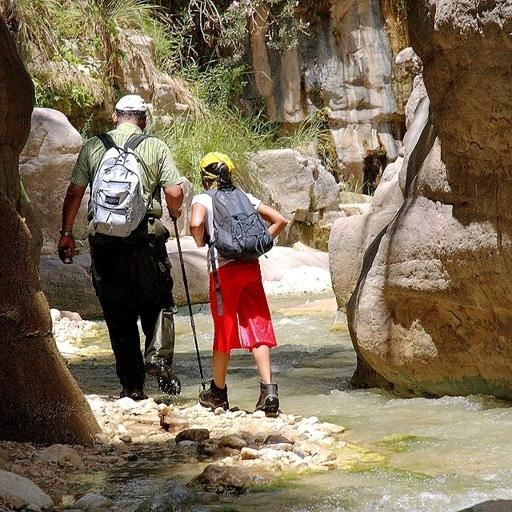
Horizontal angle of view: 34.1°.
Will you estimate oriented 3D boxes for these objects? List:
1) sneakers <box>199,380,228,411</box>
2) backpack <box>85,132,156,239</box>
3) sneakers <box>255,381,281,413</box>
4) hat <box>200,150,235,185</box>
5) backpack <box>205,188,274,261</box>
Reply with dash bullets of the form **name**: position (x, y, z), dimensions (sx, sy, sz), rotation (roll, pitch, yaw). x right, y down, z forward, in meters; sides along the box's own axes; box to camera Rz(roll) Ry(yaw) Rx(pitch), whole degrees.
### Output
- **sneakers**: position (-0.227, 0.783, 4.668), dimensions (0.081, 0.177, 0.245), rotation (-1, 8, -27)
- **backpack**: position (-0.793, -0.410, 4.748), dimensions (0.367, 0.441, 0.403), rotation (-6, 4, -3)
- **sneakers**: position (0.050, 0.766, 4.441), dimensions (0.119, 0.106, 0.191), rotation (-10, 5, -42)
- **hat**: position (-0.220, -0.478, 4.798), dimensions (0.160, 0.182, 0.205), rotation (0, 34, -14)
- **backpack**: position (-0.086, -0.176, 4.554), dimensions (0.298, 0.387, 0.265), rotation (-6, 4, -7)
